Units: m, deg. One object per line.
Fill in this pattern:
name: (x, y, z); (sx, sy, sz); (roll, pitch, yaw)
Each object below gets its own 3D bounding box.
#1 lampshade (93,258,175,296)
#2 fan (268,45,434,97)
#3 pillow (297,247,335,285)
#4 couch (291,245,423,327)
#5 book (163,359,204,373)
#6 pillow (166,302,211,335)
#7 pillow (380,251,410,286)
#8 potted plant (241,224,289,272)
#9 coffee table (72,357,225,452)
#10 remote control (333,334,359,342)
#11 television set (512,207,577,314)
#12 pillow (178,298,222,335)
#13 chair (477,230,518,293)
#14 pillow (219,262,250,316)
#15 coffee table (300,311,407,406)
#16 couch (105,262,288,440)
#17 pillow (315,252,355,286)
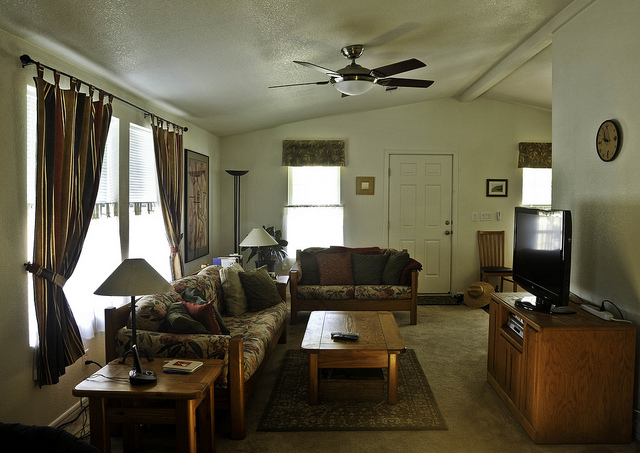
lampshade: (-1.451, 0.375, 3.701); (0.577, 0.251, 0.578); (1, 1, 8)
fan: (0.502, -1.558, 4.620); (1.049, 0.470, 0.952); (2, 11, 10)
pillow: (-0.134, 0.450, 6.611); (0.642, 0.620, 0.366); (-4, 4, -10)
couch: (0.474, 0.829, 6.695); (1.783, 1.056, 0.989); (0, -3, -2)
book: (-1.038, 1.060, 3.608); (0.273, 0.038, 0.154); (2, 11, 9)
pillow: (-1.176, 0.809, 4.062); (0.514, 0.190, 0.244); (9, 14, 38)
pillow: (1.000, 0.572, 6.430); (0.169, 0.421, 0.413); (25, -1, -29)
potted plant: (-0.878, 0.325, 7.302); (0.689, 0.678, 0.682); (-2, -1, -24)
coffee table: (-1.238, 1.271, 3.645); (0.833, 0.723, 0.824); (0, 0, 4)
remote control: (0.249, 1.051, 4.459); (0.279, 0.063, 0.075); (2, -3, 11)
television set: (2.081, 0.312, 4.381); (0.436, 0.906, 1.057); (0, 4, -1)
pillow: (-1.007, 0.824, 4.262); (0.157, 0.343, 0.421); (-2, -2, -36)
chair: (2.800, 0.570, 7.502); (0.563, 0.948, 0.635); (3, 11, 11)
pillow: (-0.934, 0.703, 5.193); (0.164, 0.447, 0.446); (-10, 2, 1)
coffee table: (0.321, 1.270, 4.726); (0.934, 0.572, 0.971); (1, 11, 2)
couch: (-1.076, 1.169, 5.260); (1.150, 1.253, 3.055); (-1, 1, 4)
pillow: (0.225, 0.575, 6.488); (0.456, 0.416, 0.139); (-2, -25, -2)
